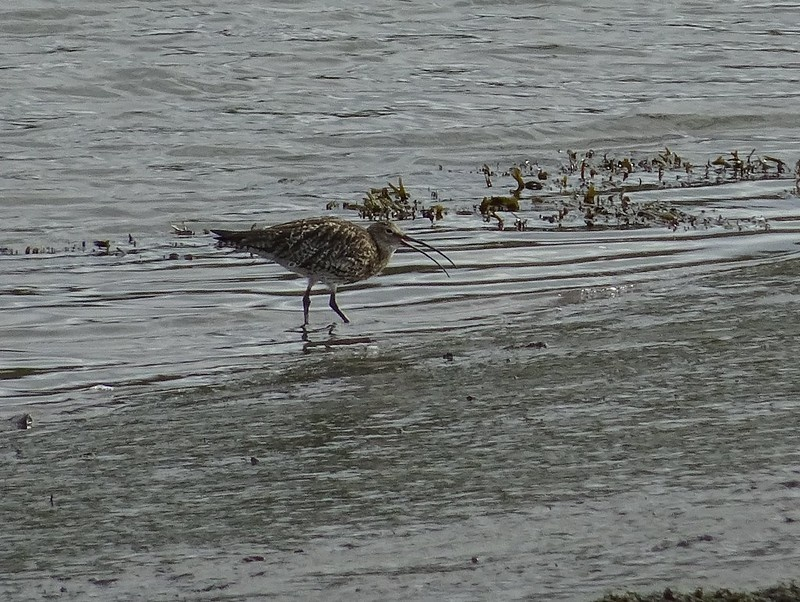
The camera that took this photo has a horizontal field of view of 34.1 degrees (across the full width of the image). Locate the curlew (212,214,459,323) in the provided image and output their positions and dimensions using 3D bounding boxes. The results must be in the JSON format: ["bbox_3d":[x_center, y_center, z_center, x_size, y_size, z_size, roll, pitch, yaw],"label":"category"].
[{"bbox_3d":[-0.749,-0.450,14.924,2.886,0.767,0.617,5,9,20],"label":"curlew"}]
